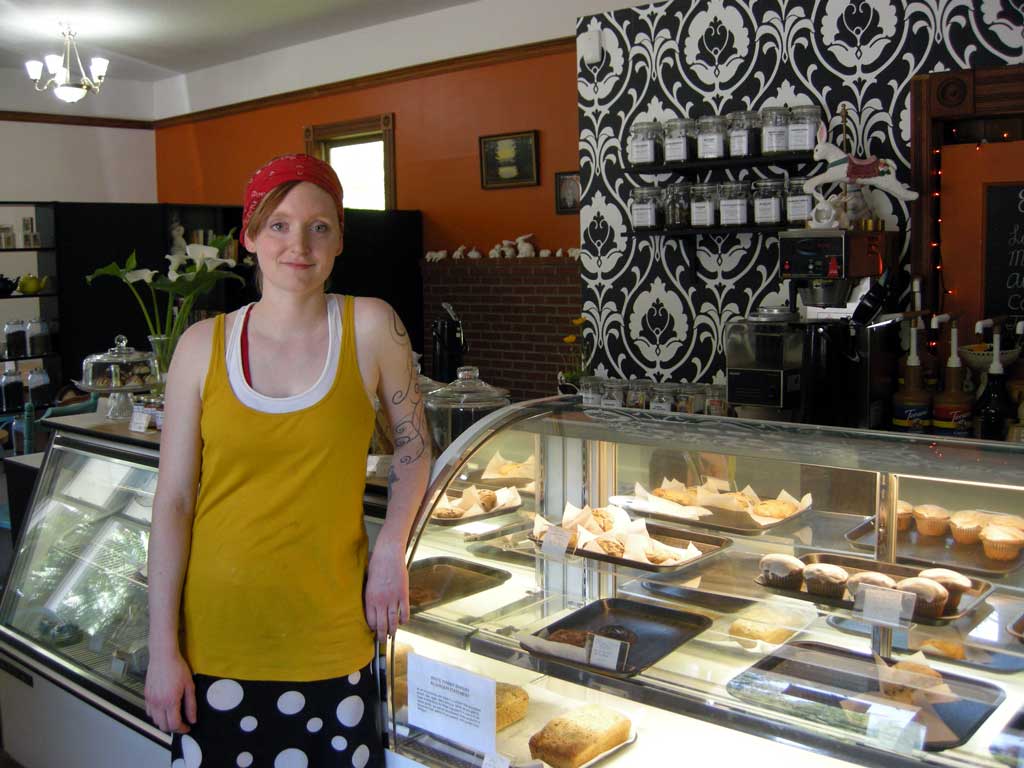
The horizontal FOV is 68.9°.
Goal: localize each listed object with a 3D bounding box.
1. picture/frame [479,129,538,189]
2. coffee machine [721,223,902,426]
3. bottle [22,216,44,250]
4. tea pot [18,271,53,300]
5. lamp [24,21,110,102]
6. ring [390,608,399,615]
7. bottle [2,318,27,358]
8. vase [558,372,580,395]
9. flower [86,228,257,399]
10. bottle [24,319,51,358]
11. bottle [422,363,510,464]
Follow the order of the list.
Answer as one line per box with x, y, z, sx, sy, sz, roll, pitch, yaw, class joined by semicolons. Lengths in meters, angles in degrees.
0.033;-1.776;5.882;0.039;0.424;0.570;-16;21;-14;picture/frame
1.378;-0.221;3.421;0.905;1.035;0.548;1;2;11;coffee machine
-4.492;-1.425;6.965;0.142;0.299;0.205;-5;9;-39;bottle
-4.444;-0.935;6.983;0.266;0.187;0.205;2;1;-23;tea pot
-3.919;-2.846;6.600;0.615;0.728;0.531;-10;-8;26;lamp
-0.242;0.461;1.518;0.013;0.007;0.018;1;3;-6;ring
-4.539;-0.405;6.834;0.184;0.343;0.253;-5;8;-36;bottle
0.327;0.001;4.492;0.100;0.116;0.132;1;2;-4;vase
-1.333;-0.243;2.866;0.434;0.555;0.507;0;-2;-38;flower
-4.400;-0.425;6.943;0.189;0.330;0.125;-4;8;-30;bottle
-0.108;0.074;2.108;0.240;0.276;0.241;1;3;28;bottle
